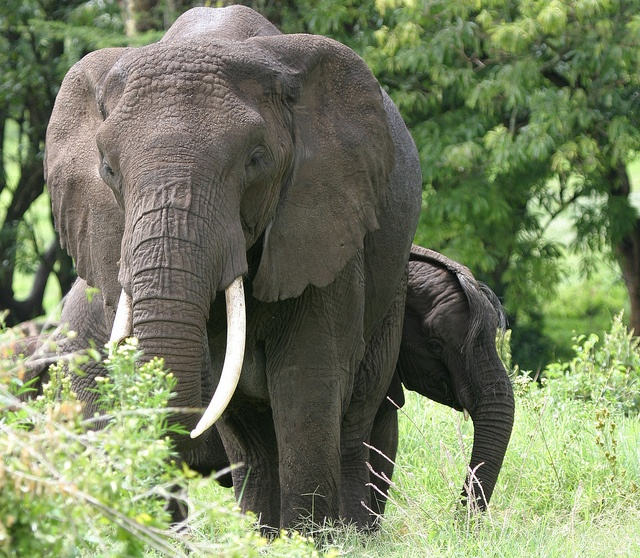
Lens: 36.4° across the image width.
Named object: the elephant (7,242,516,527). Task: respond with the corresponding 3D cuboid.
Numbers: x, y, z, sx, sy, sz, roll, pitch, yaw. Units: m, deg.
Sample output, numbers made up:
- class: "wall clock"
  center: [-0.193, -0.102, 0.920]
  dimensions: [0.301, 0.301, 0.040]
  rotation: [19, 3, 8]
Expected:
- class: "elephant"
  center: [-0.132, 0.670, 5.418]
  dimensions: [1.107, 1.641, 2.511]
  rotation: [2, -11, -28]
